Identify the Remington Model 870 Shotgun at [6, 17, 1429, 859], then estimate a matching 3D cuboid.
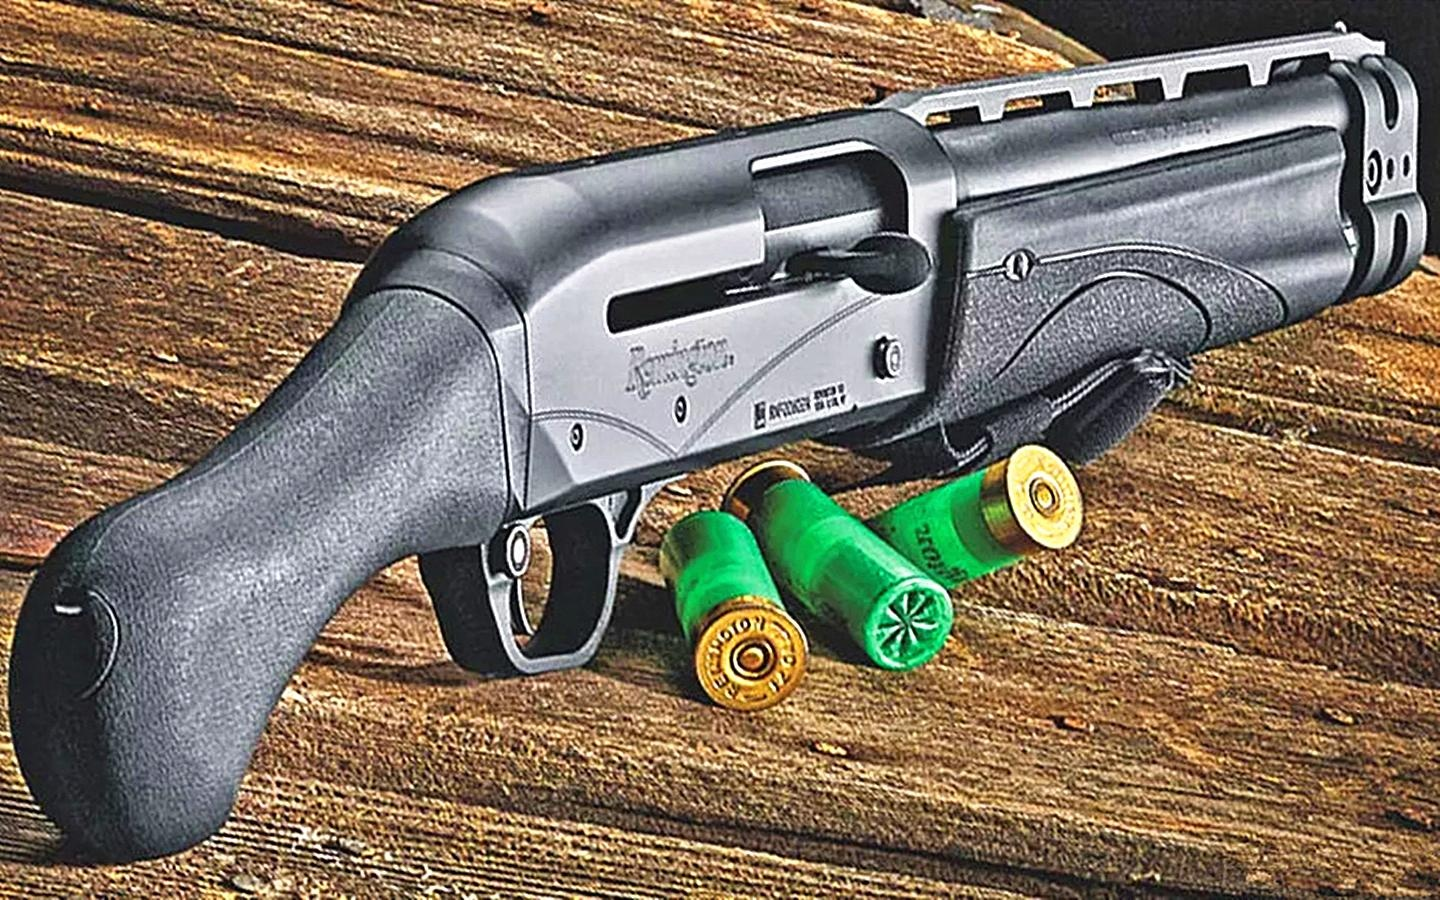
[{"bbox_3d":[0.234,-0.161,1.917,1.871,0.641,0.398,-9,23,-39],"label":"Remington Model 870 Shotgun"}]
